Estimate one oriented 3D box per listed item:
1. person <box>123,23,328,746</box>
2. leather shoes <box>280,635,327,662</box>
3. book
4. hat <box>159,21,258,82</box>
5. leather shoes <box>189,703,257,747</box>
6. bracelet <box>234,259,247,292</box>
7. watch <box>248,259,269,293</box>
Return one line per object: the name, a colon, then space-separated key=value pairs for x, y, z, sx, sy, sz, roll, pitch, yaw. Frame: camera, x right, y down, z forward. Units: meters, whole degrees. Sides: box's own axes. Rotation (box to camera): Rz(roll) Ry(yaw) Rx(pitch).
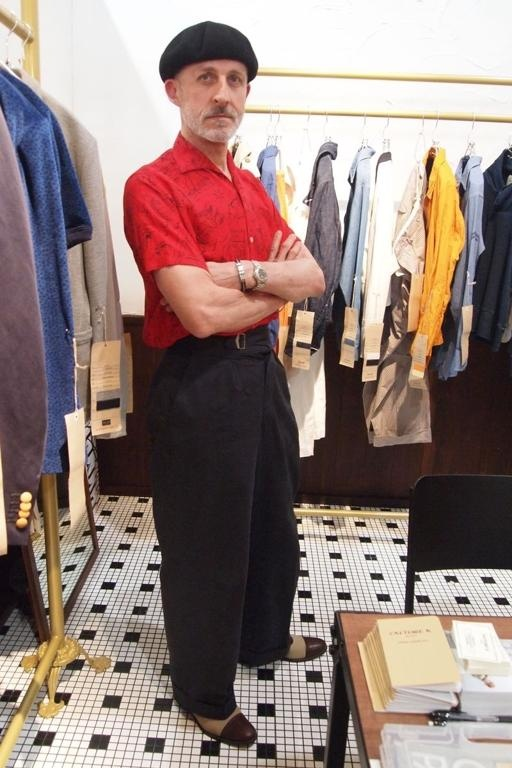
person: x=-0.074 y=0.065 z=1.286 sx=0.511 sy=1.699 sz=0.298 roll=-7 pitch=12 yaw=-44
leather shoes: x=0.148 y=0.837 z=1.610 sx=0.142 sy=0.106 sz=0.062 roll=-8 pitch=34 yaw=-7
book: x=0.214 y=0.385 z=0.708 sx=0.120 sy=0.076 sz=0.160 roll=3 pitch=11 yaw=3
hat: x=-0.098 y=-0.720 z=1.111 sx=0.215 sy=0.100 sz=0.142 roll=0 pitch=10 yaw=-12
leather shoes: x=-0.078 y=0.857 z=1.305 sx=0.146 sy=0.074 sz=0.066 roll=10 pitch=6 yaw=28
bracelet: x=-0.031 y=-0.233 z=1.112 sx=0.028 sy=0.064 sz=0.017 roll=0 pitch=9 yaw=-13
watch: x=0.006 y=-0.234 z=1.124 sx=0.037 sy=0.072 sz=0.061 roll=-7 pitch=22 yaw=-17
